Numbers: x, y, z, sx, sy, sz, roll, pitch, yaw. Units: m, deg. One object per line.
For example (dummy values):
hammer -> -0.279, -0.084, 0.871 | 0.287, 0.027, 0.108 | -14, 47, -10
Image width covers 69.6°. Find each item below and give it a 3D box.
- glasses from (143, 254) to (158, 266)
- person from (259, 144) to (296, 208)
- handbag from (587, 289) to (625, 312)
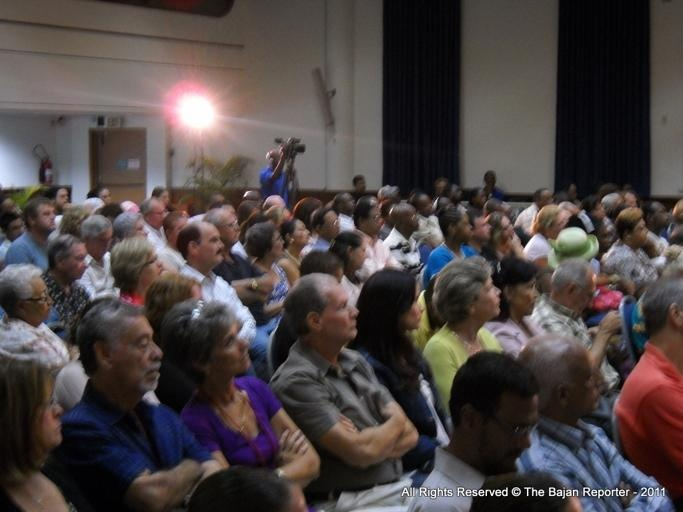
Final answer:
glasses -> -1.117, 0.018, 2.865 | 0.020, 0.041, 0.051 | 25, -1, 9
person -> -1.165, -1.194, 8.757 | 0.478, 1.764, 0.595 | -14, 36, -28
handbag -> 1.822, 0.302, 3.397 | 0.178, 0.069, 0.200 | 7, 36, 19
